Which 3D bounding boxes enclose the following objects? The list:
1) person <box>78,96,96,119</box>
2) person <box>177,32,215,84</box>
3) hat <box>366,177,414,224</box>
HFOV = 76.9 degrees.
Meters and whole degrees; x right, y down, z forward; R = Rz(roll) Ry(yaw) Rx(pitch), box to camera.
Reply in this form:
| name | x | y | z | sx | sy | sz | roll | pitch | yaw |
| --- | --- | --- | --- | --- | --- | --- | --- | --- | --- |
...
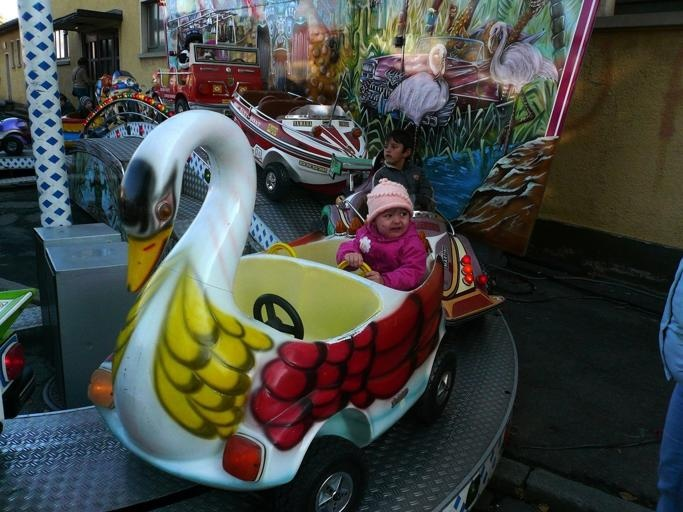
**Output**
| name | x | y | z | sx | sy | sz | roll | pitch | yaw |
| --- | --- | --- | --- | --- | --- | --- | --- | --- | --- |
| person | -7.238 | -4.191 | 12.134 | 0.318 | 0.601 | 1.646 | -8 | 20 | -29 |
| person | -2.495 | -3.369 | 7.243 | 0.524 | 0.954 | 1.482 | -4 | 18 | -20 |
| hat | 0.217 | -0.266 | 2.117 | 0.226 | 0.229 | 0.219 | 11 | 12 | 31 |
